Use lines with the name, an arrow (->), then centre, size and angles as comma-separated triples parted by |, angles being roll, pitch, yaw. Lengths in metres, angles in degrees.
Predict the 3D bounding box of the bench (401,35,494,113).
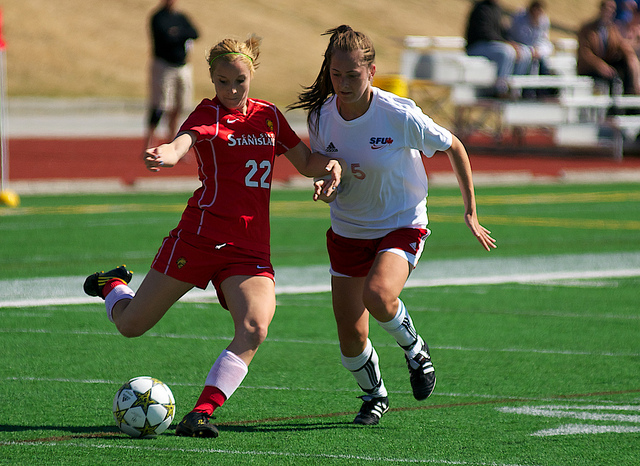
bench -> 2.769, -3.414, 20.864 | 1.604, 1.662, 0.404 | 26, 37, 28

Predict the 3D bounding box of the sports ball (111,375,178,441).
sports ball -> -1.271, 1.269, 7.856 | 0.452, 0.430, 0.435 | -9, -17, -3
